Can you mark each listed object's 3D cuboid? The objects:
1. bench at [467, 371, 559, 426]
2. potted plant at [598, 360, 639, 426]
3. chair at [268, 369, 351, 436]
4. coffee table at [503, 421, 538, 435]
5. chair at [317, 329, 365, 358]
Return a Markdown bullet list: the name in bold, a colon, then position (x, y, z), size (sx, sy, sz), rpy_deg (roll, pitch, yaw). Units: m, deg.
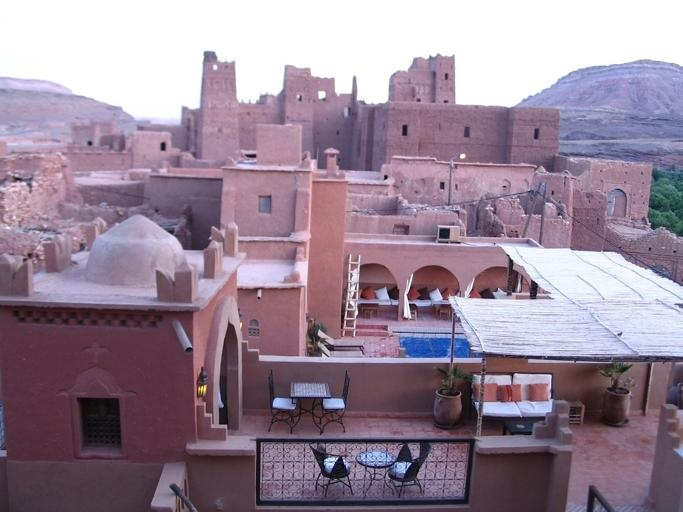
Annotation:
- **bench**: position (3.016, 2.382, 11.665), size (1.336, 0.668, 0.795), rpy_deg (0, 4, -3)
- **potted plant**: position (4.870, 2.399, 12.147), size (0.646, 1.117, 0.446), rpy_deg (0, 4, 0)
- **chair**: position (-0.587, 2.610, 11.602), size (1.066, 0.807, 1.118), rpy_deg (1, 15, -1)
- **coffee table**: position (2.873, 2.755, 11.037), size (0.501, 0.177, 0.510), rpy_deg (0, 3, -4)
- **chair**: position (-0.001, 2.252, 17.632), size (0.831, 0.377, 0.632), rpy_deg (0, 18, 3)
